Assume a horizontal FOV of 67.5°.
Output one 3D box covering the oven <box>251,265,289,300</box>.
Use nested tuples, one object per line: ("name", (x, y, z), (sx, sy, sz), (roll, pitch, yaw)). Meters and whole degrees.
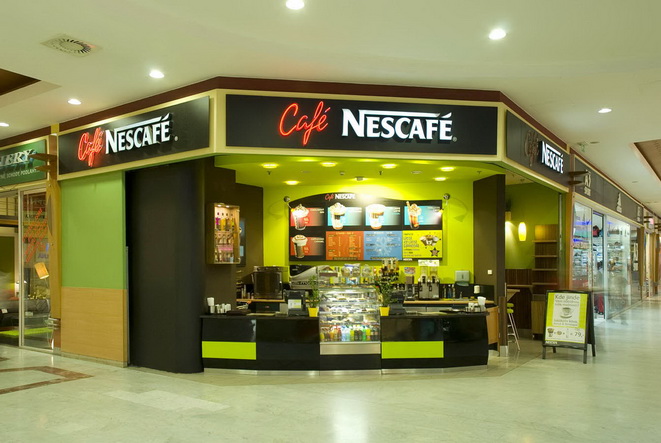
("oven", (-1.648, 1.495, 11.965), (0.859, 0.759, 0.739), (7, -11, -39))

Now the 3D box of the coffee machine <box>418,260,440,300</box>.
("coffee machine", (2.339, 1.396, 11.734), (0.553, 0.887, 0.487), (0, -9, 16))

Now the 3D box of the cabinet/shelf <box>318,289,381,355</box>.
("cabinet/shelf", (0.169, 1.898, 9.376), (1.425, 1.248, 0.818), (5, -14, -25))

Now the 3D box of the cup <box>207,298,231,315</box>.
("cup", (-2.095, 1.586, 9.304), (0.391, 0.256, 0.281), (-2, -5, 8))

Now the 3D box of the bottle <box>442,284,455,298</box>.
("bottle", (2.825, 1.652, 11.858), (0.333, 0.314, 0.124), (1, 5, 18))

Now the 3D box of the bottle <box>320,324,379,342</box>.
("bottle", (0.337, 2.033, 8.970), (1.055, 0.274, 0.141), (-1, 5, -1))
